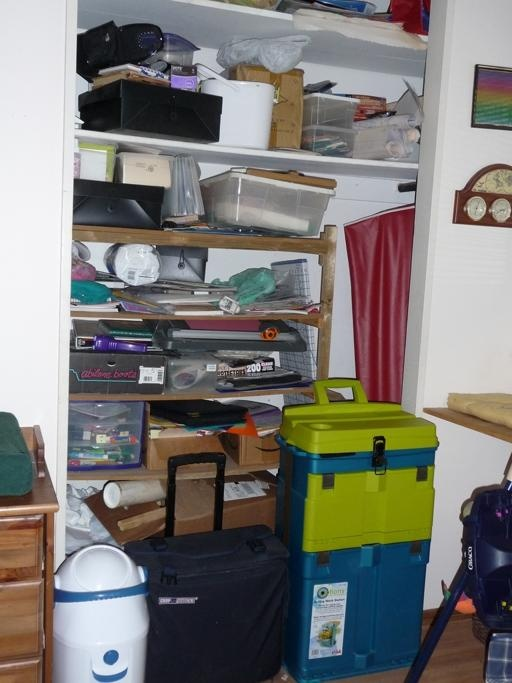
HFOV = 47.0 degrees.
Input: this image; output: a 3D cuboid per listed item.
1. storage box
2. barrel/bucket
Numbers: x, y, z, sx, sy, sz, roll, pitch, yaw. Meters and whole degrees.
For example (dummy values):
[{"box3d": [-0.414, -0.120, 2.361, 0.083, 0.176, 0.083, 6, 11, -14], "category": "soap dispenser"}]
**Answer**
[{"box3d": [0.213, -0.038, 3.069, 1.793, 2.775, 1.571, -1, 12, -12], "category": "storage box"}, {"box3d": [-0.044, -0.739, 1.863, 0.299, 0.237, 0.212, -2, 13, -12], "category": "barrel/bucket"}]
